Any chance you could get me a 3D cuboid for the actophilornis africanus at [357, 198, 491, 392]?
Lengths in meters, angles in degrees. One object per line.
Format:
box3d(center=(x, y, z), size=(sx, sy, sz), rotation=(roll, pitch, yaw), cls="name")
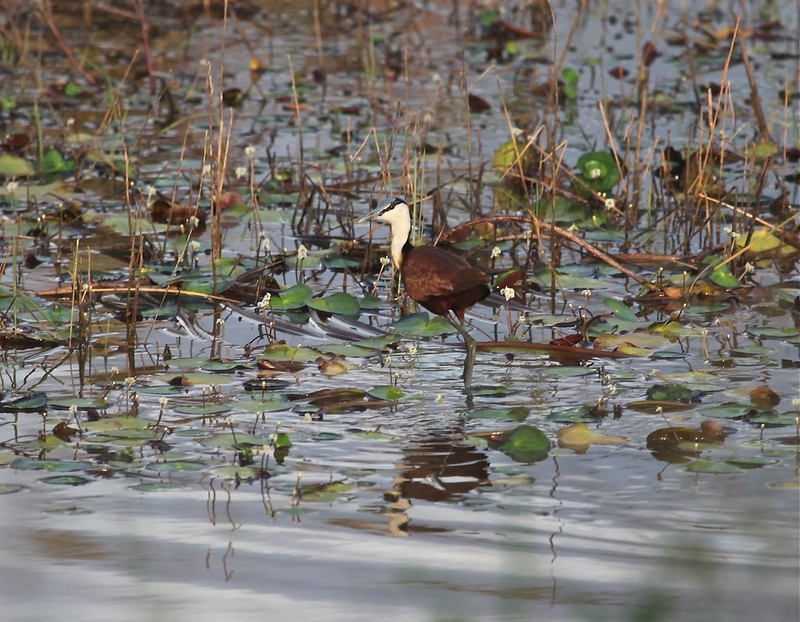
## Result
box3d(center=(0.146, -0.094, 4.124), size=(0.399, 0.822, 0.687), rotation=(4, -5, -23), cls="actophilornis africanus")
